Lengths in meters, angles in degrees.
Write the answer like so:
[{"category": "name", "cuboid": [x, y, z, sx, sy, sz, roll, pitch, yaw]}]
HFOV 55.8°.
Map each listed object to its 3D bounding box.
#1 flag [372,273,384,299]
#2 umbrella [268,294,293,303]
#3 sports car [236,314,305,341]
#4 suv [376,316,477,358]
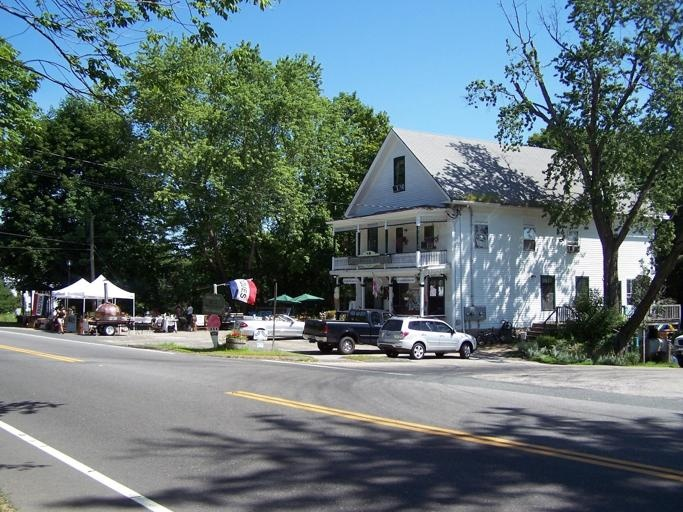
[{"category": "flag", "cuboid": [2.396, 1.949, 42.488, 0.461, 1.319, 1.401, 1, -1, 13]}, {"category": "umbrella", "cuboid": [-4.383, 3.280, 49.509, 1.123, 0.566, 5.672, 1, -2, -7]}, {"category": "sports car", "cuboid": [-3.995, 4.165, 37.608, 4.045, 1.302, 1.871, 0, 0, -34]}, {"category": "suv", "cuboid": [3.769, 3.723, 30.062, 4.098, 1.745, 1.937, 0, -1, -30]}]
